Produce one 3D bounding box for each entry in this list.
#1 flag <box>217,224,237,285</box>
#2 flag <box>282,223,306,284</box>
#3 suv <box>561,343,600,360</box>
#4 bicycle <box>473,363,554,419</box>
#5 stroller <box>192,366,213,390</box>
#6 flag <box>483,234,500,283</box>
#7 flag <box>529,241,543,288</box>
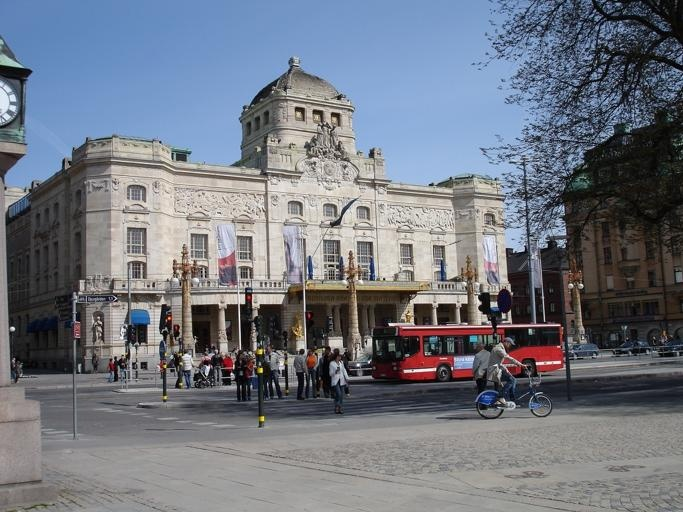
[{"bbox_3d":[-9.844,-0.131,73.056,1.563,5.477,1.829,0,-11,-12],"label":"flag"},{"bbox_3d":[-4.310,-0.191,76.548,1.668,5.726,2.850,-1,-11,-4],"label":"flag"},{"bbox_3d":[19.934,7.863,70.156,3.922,1.326,1.418,7,-14,-40],"label":"suv"},{"bbox_3d":[4.905,3.914,24.205,2.353,1.362,1.091,0,-8,-9],"label":"bicycle"},{"bbox_3d":[-7.656,6.636,46.389,1.358,1.308,0.987,2,-10,-1],"label":"stroller"},{"bbox_3d":[15.394,0.459,87.573,1.986,5.377,0.818,8,-15,-44],"label":"flag"},{"bbox_3d":[16.337,1.065,72.642,1.061,4.080,0.251,-1,-21,9],"label":"flag"}]
